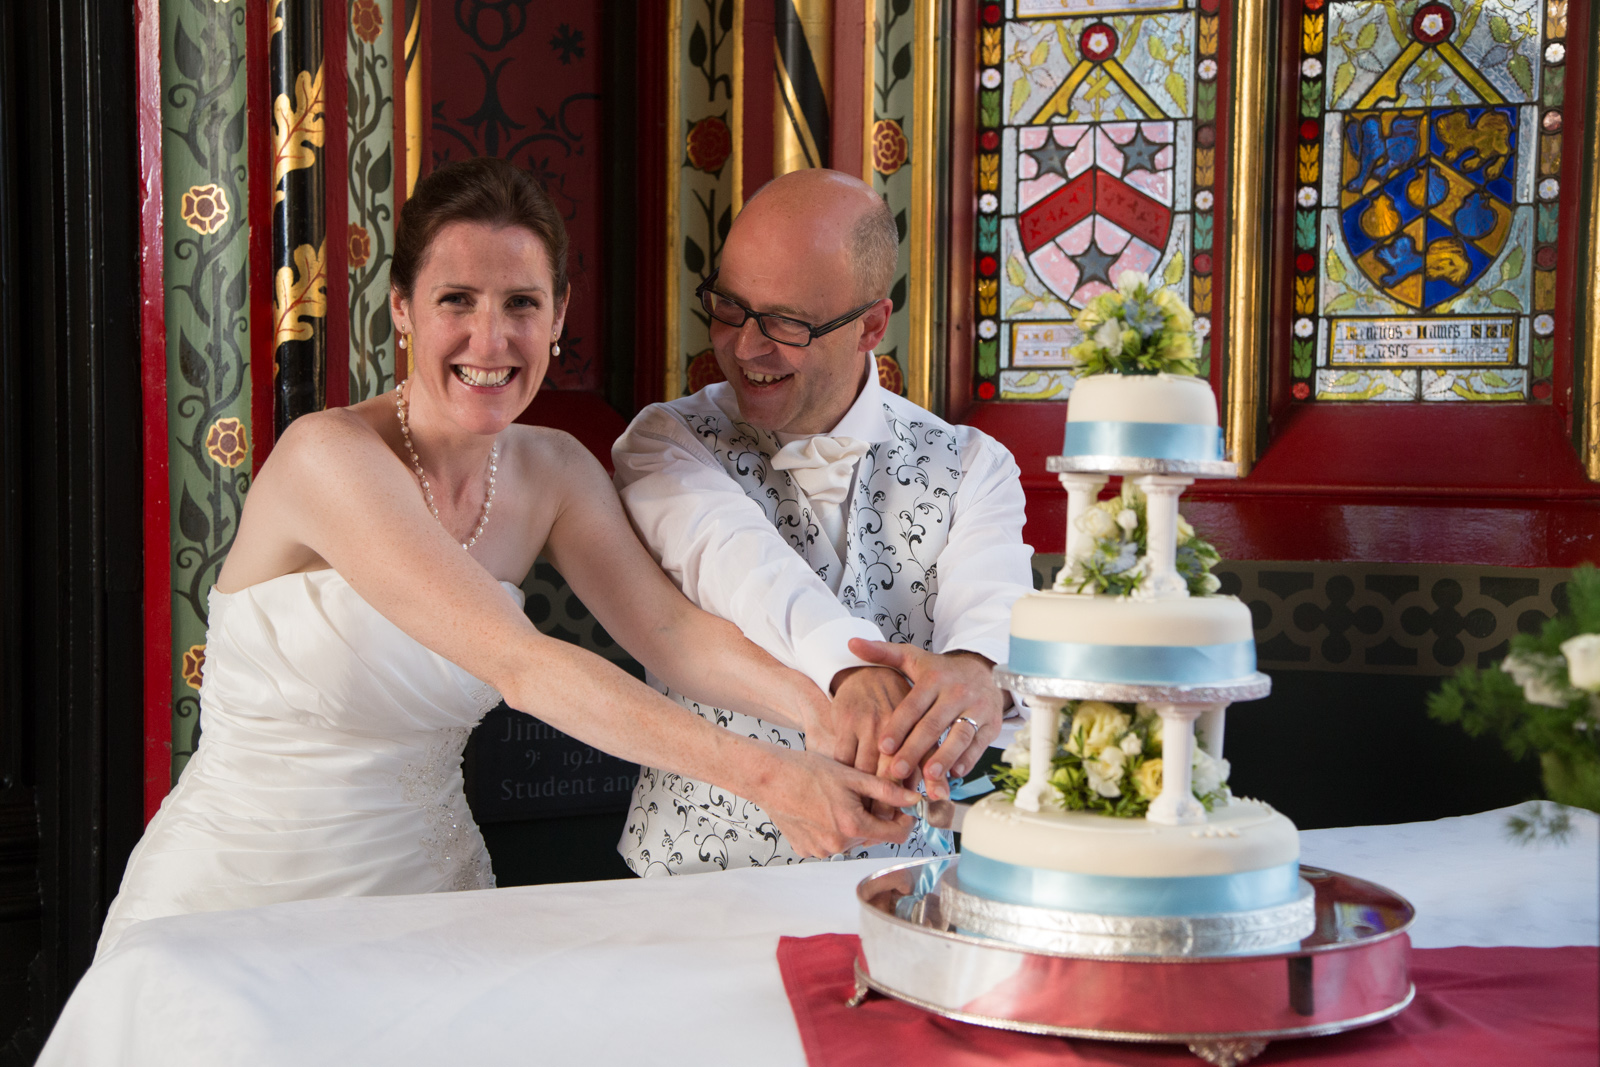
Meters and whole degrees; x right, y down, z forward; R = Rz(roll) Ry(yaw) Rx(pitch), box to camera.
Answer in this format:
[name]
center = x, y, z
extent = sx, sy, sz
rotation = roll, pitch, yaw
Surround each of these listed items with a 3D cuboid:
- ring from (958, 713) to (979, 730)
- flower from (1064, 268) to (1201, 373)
[ring]
center = 0.362, 0.398, 3.099
extent = 0.029, 0.007, 0.031
rotation = 42, -3, 3
[flower]
center = 0.598, -0.348, 2.542
extent = 0.176, 0.164, 0.183
rotation = 0, 0, 1
